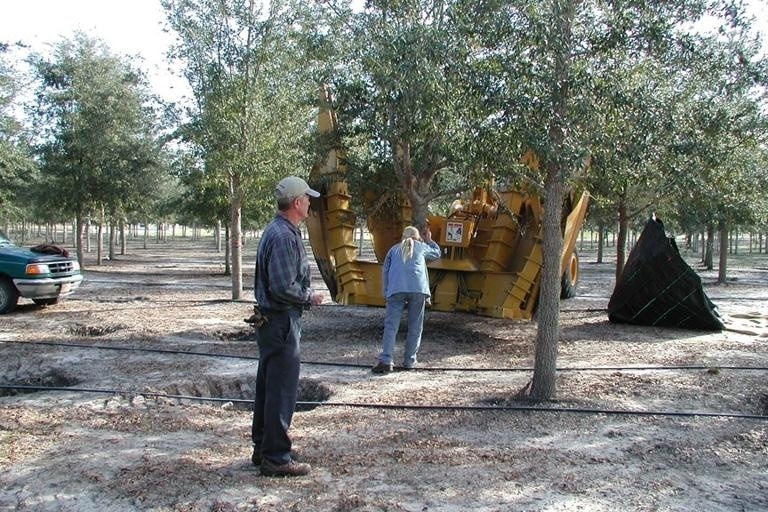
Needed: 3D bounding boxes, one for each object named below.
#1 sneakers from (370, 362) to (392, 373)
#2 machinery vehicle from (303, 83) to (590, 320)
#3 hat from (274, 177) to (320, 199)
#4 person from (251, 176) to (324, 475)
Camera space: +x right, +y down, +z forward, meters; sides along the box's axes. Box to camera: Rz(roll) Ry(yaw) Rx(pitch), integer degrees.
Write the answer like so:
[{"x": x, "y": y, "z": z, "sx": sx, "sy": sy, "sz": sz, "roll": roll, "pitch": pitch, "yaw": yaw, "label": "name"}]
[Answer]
[{"x": -0.051, "y": 1.954, "z": 11.429, "sx": 0.314, "sy": 0.209, "sz": 0.153, "roll": 3, "pitch": 0, "yaw": 5, "label": "sneakers"}, {"x": 1.453, "y": -1.227, "z": 16.242, "sx": 6.789, "sy": 4.728, "sz": 4.631, "roll": 4, "pitch": -1, "yaw": 18, "label": "machinery vehicle"}, {"x": -1.153, "y": -0.893, "z": 8.420, "sx": 0.469, "sy": 0.265, "sz": 0.307, "roll": 1, "pitch": 12, "yaw": -28, "label": "hat"}, {"x": -1.293, "y": 0.850, "z": 8.231, "sx": 0.869, "sy": 3.671, "sz": 0.939, "roll": 0, "pitch": 9, "yaw": -6, "label": "person"}]
